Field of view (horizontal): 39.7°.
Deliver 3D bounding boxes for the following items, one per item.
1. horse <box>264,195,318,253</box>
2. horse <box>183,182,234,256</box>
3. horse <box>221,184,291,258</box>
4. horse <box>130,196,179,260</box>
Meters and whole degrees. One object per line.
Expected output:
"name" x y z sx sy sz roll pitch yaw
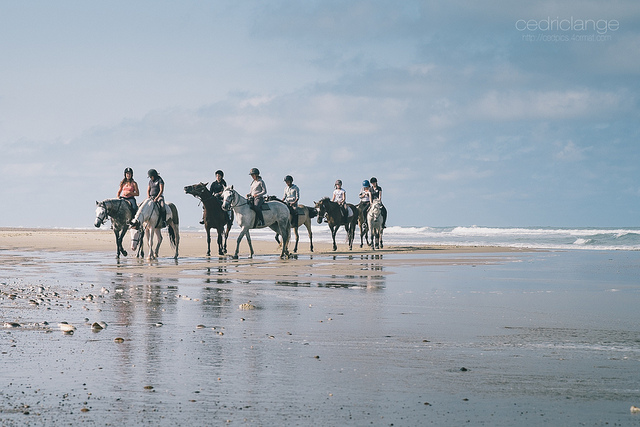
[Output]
"horse" -0.993 0.409 37.735 0.929 2.369 3.932 -4 8 32
"horse" -4.008 0.338 33.555 1.034 2.656 4.157 -3 -6 10
"horse" -2.374 0.373 32.514 1.036 2.517 3.784 -5 -7 39
"horse" -5.960 0.581 32.017 1.066 2.251 3.855 -1 0 13
